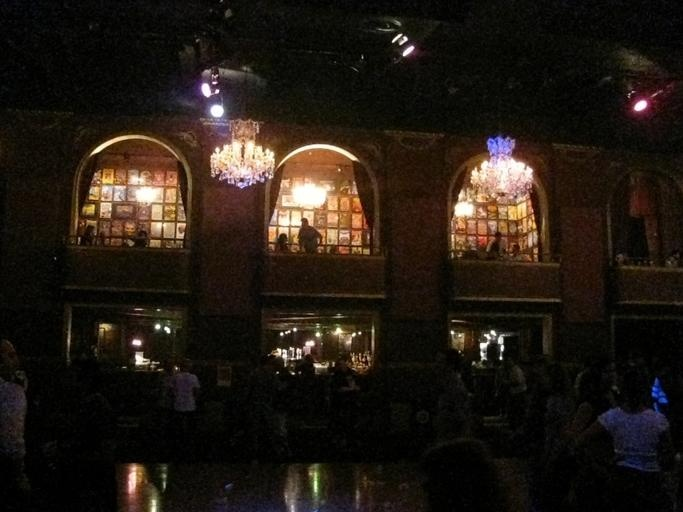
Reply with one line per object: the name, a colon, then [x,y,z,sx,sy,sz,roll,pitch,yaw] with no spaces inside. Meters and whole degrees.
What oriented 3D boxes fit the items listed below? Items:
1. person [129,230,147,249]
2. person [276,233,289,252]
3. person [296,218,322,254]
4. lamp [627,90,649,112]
person: [-4.872,-0.420,16.965,0.384,0.591,1.797,1,-5,-16]
person: [-1.433,-0.319,16.990,0.297,0.566,1.045,-1,-5,-5]
person: [-0.789,-0.494,17.109,0.560,0.946,0.942,-1,-5,-3]
lamp: [5.950,-3.098,14.137,0.367,0.365,0.356,-3,-5,20]
